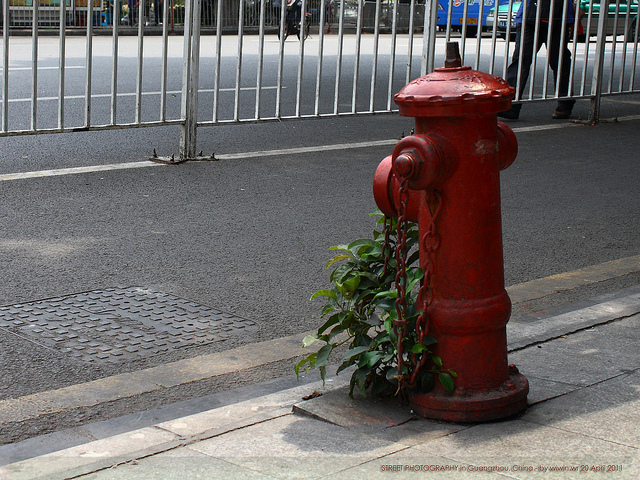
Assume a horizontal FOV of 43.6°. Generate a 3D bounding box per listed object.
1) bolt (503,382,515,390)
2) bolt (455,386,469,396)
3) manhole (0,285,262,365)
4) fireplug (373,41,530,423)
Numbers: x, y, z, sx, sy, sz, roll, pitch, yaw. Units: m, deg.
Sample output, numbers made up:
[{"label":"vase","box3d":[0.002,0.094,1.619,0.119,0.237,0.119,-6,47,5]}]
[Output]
[{"label":"bolt","box3d":[0.805,0.625,3.428,0.041,0.013,0.033,1,3,9]},{"label":"bolt","box3d":[0.595,0.635,3.374,0.042,0.036,0.012,6,-30,5]},{"label":"manhole","box3d":[-1.125,0.460,4.553,1.079,0.162,1.153,-10,13,-43]},{"label":"fireplug","box3d":[0.602,-0.041,3.401,0.596,1.567,0.466,2,13,12]}]
